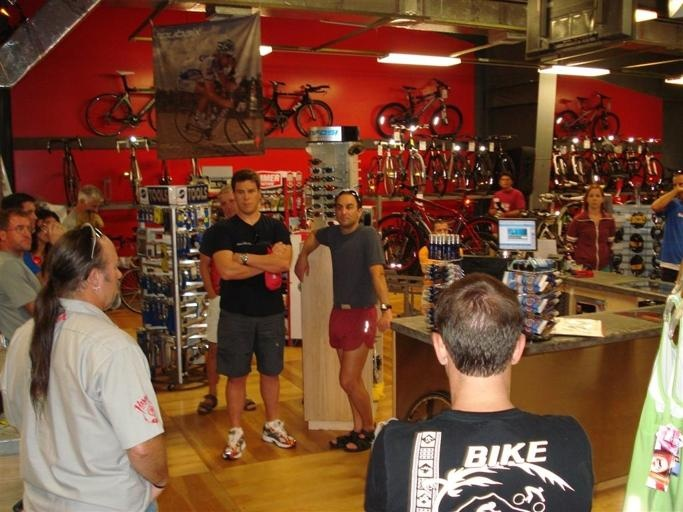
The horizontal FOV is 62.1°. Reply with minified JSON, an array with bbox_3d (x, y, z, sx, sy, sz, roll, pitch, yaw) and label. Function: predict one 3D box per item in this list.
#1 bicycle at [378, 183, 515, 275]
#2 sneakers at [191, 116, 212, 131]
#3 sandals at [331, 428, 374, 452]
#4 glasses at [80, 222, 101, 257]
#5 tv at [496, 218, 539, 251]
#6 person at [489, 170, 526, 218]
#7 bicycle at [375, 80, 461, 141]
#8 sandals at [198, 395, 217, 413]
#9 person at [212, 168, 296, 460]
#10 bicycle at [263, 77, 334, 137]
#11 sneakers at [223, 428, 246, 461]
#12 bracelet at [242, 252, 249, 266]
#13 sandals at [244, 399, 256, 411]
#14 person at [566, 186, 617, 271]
[{"bbox_3d":[1.563,-0.441,10.204,2.660,1.522,1.323,8,9,23],"label":"bicycle"},{"bbox_3d":[-1.422,-1.332,5.669,0.249,0.153,0.091,11,20,21],"label":"sneakers"},{"bbox_3d":[0.086,1.514,4.645,0.302,0.088,0.165,0,3,-35],"label":"sandals"},{"bbox_3d":[-0.984,-0.068,2.233,0.035,0.121,0.120,1,15,-30],"label":"glasses"},{"bbox_3d":[1.198,-0.137,3.868,0.235,0.224,0.173,0,9,8],"label":"tv"},{"bbox_3d":[2.749,-0.999,9.339,0.508,0.710,0.731,-1,9,0],"label":"person"},{"bbox_3d":[1.813,-3.188,12.618,2.553,1.434,1.281,-6,17,-23],"label":"bicycle"},{"bbox_3d":[-1.313,1.425,5.490,0.093,0.100,0.249,0,-1,2],"label":"sandals"},{"bbox_3d":[-0.709,0.456,4.562,0.641,2.267,0.431,-4,10,-17],"label":"person"},{"bbox_3d":[-0.909,-3.012,11.707,1.448,1.091,0.686,-3,9,-12],"label":"bicycle"},{"bbox_3d":[-0.855,1.491,4.499,0.135,0.169,0.279,1,-1,5],"label":"sneakers"},{"bbox_3d":[-0.741,0.024,4.290,0.051,0.066,0.027,3,-4,8],"label":"bracelet"},{"bbox_3d":[-0.896,1.433,5.476,0.096,0.095,0.264,-1,-5,-9],"label":"sandals"},{"bbox_3d":[2.900,-0.332,6.588,0.494,0.966,0.302,3,10,22],"label":"person"}]
